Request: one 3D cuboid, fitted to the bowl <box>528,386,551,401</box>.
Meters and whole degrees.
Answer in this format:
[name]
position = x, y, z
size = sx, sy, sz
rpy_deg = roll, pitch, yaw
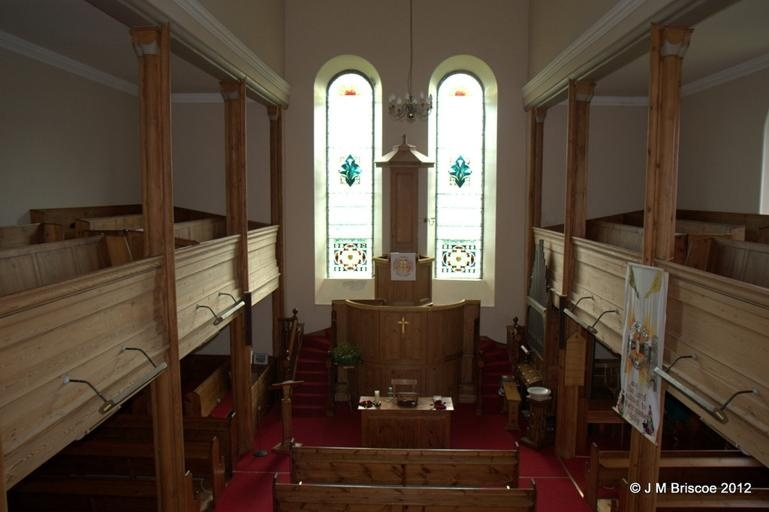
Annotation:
[bowl]
position = 3.672, 3.267, 11.538
size = 0.317, 0.143, 0.323
rpy_deg = -11, 4, 1
